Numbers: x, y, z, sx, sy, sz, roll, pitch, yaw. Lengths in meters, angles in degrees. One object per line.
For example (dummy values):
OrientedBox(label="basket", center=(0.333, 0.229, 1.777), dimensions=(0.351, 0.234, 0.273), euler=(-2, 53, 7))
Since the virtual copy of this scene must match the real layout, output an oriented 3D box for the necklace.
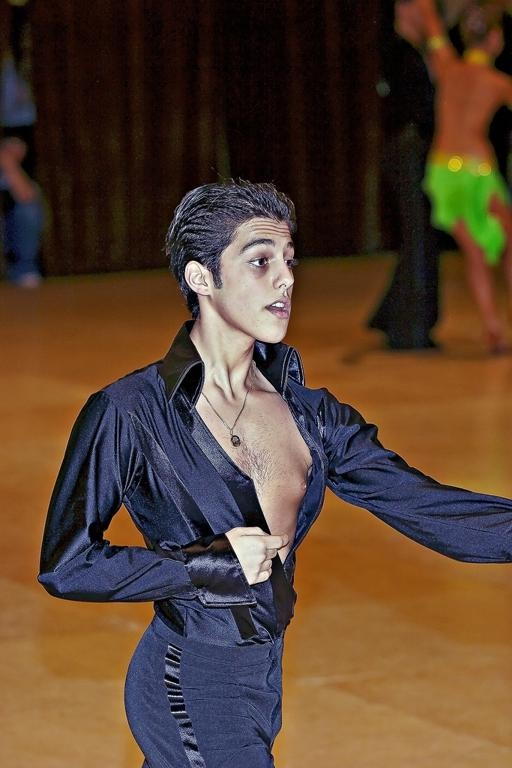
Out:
OrientedBox(label="necklace", center=(-0.047, 0.062, 1.388), dimensions=(0.101, 0.088, 0.027), euler=(-5, -10, -41))
